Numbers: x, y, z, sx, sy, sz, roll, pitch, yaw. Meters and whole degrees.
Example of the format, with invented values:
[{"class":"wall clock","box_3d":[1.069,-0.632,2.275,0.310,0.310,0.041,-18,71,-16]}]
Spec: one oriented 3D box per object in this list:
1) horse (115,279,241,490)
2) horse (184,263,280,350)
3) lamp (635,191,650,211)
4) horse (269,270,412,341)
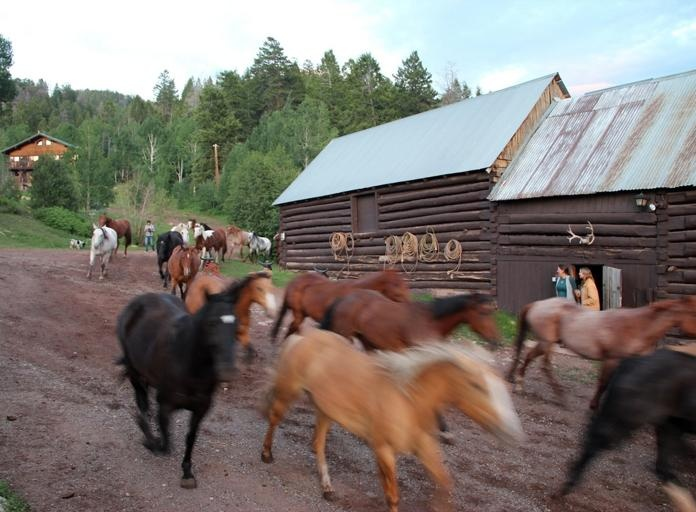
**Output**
[{"class":"horse","box_3d":[-2.050,1.483,6.012,2.001,1.847,0.536,8,3,40]},{"class":"horse","box_3d":[-1.905,0.940,7.807,2.036,1.518,0.518,3,8,33]},{"class":"lamp","box_3d":[7.270,-1.347,12.325,0.377,0.448,0.143,6,2,-19]},{"class":"horse","box_3d":[-0.223,1.042,8.884,2.586,1.758,0.647,5,12,26]}]
